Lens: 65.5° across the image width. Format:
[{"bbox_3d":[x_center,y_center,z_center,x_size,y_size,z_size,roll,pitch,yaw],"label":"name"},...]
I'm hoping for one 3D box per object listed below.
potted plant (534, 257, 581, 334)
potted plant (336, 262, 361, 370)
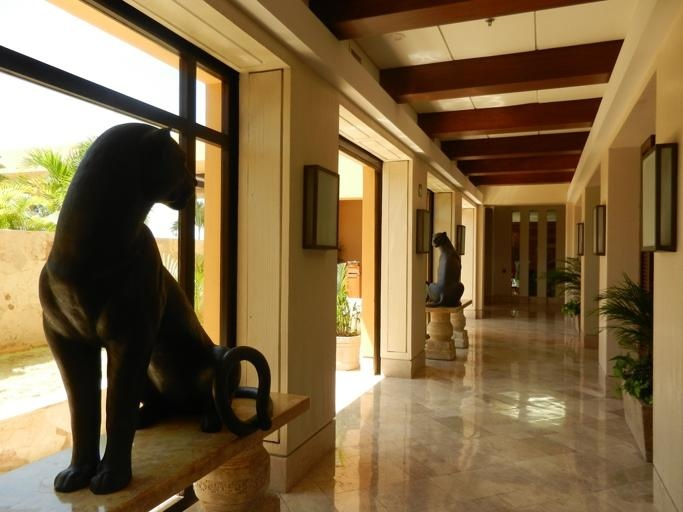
[{"bbox_3d":[4.869,0.900,11.965,1.144,1.470,1.205,-1,3,15],"label":"potted plant"},{"bbox_3d":[0.103,0.779,6.919,0.302,1.343,0.576,0,2,2],"label":"potted plant"}]
